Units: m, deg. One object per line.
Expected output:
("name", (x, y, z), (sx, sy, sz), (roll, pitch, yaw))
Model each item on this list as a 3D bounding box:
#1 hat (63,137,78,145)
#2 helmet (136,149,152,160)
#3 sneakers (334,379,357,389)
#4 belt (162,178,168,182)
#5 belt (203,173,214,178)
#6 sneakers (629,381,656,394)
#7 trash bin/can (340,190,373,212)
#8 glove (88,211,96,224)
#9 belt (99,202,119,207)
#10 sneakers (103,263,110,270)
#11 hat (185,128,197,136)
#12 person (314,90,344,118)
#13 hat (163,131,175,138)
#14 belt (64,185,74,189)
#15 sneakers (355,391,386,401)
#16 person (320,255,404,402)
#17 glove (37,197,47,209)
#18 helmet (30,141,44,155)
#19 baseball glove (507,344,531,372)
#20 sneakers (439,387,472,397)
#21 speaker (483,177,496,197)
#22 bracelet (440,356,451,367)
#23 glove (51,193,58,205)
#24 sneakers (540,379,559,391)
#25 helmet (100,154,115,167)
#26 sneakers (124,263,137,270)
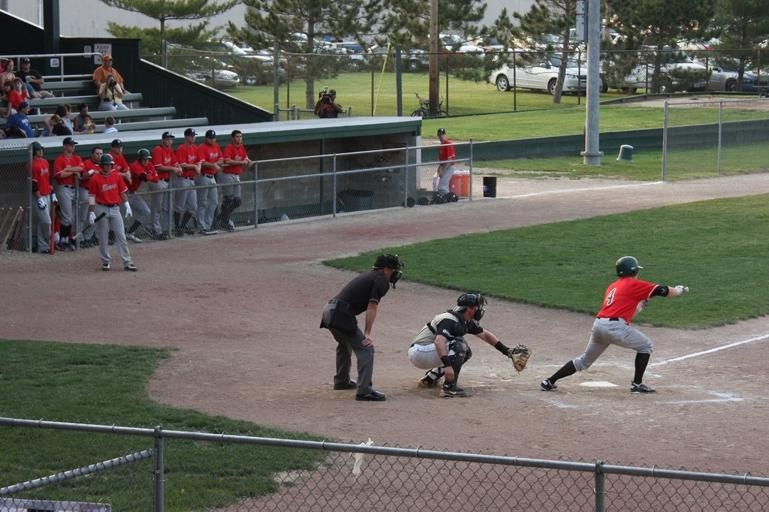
("hat", (-8.133, -2.952, 40.809), (0.289, 0.124, 0.194), (6, 10, 12))
("helmet", (-6.482, -2.693, 42.288), (0.369, 0.184, 0.296), (9, 13, 42))
("sneakers", (-0.795, 2.768, 33.413), (0.534, 0.171, 0.179), (-3, 7, -16))
("belt", (-5.963, -2.051, 43.157), (0.065, 0.117, 0.160), (6, 12, 32))
("belt", (-4.836, -2.209, 44.005), (0.205, 0.121, 0.406), (4, 10, 23))
("sneakers", (5.435, 2.849, 33.221), (0.561, 0.205, 0.194), (0, 5, -3))
("trash bin/can", (-0.846, -1.717, 49.333), (1.408, 0.803, 0.754), (7, 10, 44))
("glove", (-7.284, -0.924, 39.351), (0.222, 0.259, 0.112), (-18, -19, 41))
("belt", (-6.861, -1.241, 39.418), (0.469, 0.102, 0.155), (-8, 12, -40))
("sneakers", (-6.955, 0.323, 39.529), (0.217, 0.173, 0.138), (2, 2, 11))
("hat", (-5.284, -3.350, 43.128), (0.278, 0.143, 0.200), (-27, 21, -29))
("person", (-1.890, -5.081, 53.085), (0.871, 0.921, 1.299), (-1, 10, -3))
("hat", (-5.810, -3.240, 42.782), (0.321, 0.139, 0.222), (-12, 20, -34))
("belt", (-8.210, -1.775, 41.302), (0.206, 0.092, 0.069), (-8, 13, -40))
("sneakers", (-0.263, 2.977, 32.757), (0.556, 0.191, 0.223), (-3, 4, -9))
("person", (-0.499, 1.522, 32.964), (1.580, 2.978, 1.067), (-1, 11, -2))
("glove", (-8.815, -1.370, 40.755), (0.263, 0.298, 0.132), (-9, -35, -7))
("helmet", (-8.899, -2.730, 40.426), (0.390, 0.323, 0.285), (-9, 17, -15))
("baseball glove", (2.972, 2.220, 33.512), (0.269, 0.541, 0.477), (26, -25, -35))
("sneakers", (1.503, 2.904, 33.149), (0.665, 0.257, 0.210), (-1, 3, -4))
("speaker", (3.288, -2.100, 49.072), (0.385, 0.640, 0.199), (3, 12, 19))
("bracelet", (1.301, 2.246, 32.890), (0.238, 0.185, 0.217), (2, -8, -21))
("glove", (-8.600, -1.460, 41.147), (0.140, 0.296, 0.286), (2, 10, 12))
("sneakers", (3.519, 2.796, 33.516), (0.161, 0.171, 0.411), (4, 4, 35))
("helmet", (-6.934, -2.387, 39.432), (0.300, 0.308, 0.370), (-2, 10, -9))
("sneakers", (-6.330, 0.332, 39.483), (0.365, 0.124, 0.137), (1, 4, 44))
